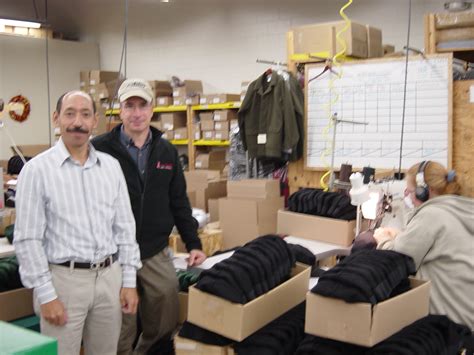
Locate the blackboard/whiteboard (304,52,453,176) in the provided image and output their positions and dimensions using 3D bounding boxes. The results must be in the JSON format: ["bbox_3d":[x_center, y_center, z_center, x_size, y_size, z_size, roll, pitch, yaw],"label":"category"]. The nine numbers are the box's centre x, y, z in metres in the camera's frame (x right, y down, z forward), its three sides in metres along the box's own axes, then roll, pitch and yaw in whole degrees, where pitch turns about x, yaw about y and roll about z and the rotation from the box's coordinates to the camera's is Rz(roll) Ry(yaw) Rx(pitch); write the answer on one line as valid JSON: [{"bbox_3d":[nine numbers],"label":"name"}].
[{"bbox_3d":[1.553,-0.693,3.843,1.435,1.070,0.056,1,0,23],"label":"blackboard/whiteboard"}]

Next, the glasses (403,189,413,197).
[{"bbox_3d":[1.074,0.096,2.251,0.024,0.043,0.045,14,19,3],"label":"glasses"}]
